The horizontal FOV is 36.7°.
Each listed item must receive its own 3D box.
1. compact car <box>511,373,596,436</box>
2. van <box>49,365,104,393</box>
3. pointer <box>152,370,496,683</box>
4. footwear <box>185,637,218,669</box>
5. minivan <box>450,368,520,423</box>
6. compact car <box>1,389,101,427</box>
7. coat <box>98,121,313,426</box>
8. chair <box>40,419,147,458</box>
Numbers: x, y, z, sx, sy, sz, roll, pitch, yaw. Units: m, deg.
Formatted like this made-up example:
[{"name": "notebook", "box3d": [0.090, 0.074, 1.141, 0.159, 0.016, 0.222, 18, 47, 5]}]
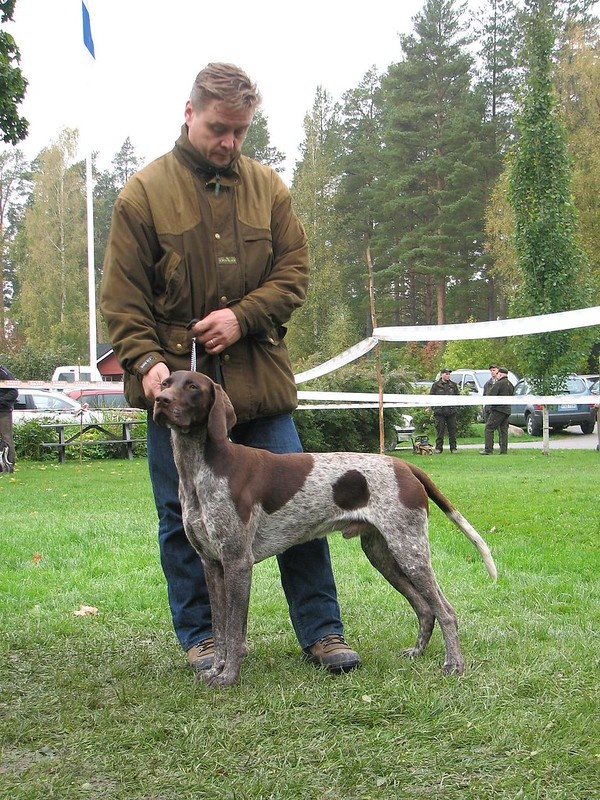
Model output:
[{"name": "compact car", "box3d": [6.155, 0.152, 22.220, 1.471, 1.217, 2.911, -2, 6, -8]}, {"name": "van", "box3d": [-6.398, -0.606, 25.852, 1.207, 1.074, 2.008, -1, 9, -10]}, {"name": "pointer", "box3d": [0.106, 0.539, 3.782, 1.650, 1.135, 0.468, 5, -11, -23]}, {"name": "footwear", "box3d": [-0.405, 1.086, 3.826, 0.070, 0.066, 0.187, 1, -9, -15]}, {"name": "minivan", "box3d": [4.626, -0.166, 24.768, 1.623, 1.275, 2.449, 0, -3, -33]}, {"name": "compact car", "box3d": [-4.870, 0.225, 18.032, 1.486, 0.707, 0.826, -2, 4, -6]}, {"name": "coat", "box3d": [-0.387, -0.524, 3.910, 0.923, 1.239, 0.444, -2, 0, -13]}, {"name": "chair", "box3d": [-3.899, 0.705, 17.422, 2.375, 0.788, 0.723, 0, 18, -7]}]
